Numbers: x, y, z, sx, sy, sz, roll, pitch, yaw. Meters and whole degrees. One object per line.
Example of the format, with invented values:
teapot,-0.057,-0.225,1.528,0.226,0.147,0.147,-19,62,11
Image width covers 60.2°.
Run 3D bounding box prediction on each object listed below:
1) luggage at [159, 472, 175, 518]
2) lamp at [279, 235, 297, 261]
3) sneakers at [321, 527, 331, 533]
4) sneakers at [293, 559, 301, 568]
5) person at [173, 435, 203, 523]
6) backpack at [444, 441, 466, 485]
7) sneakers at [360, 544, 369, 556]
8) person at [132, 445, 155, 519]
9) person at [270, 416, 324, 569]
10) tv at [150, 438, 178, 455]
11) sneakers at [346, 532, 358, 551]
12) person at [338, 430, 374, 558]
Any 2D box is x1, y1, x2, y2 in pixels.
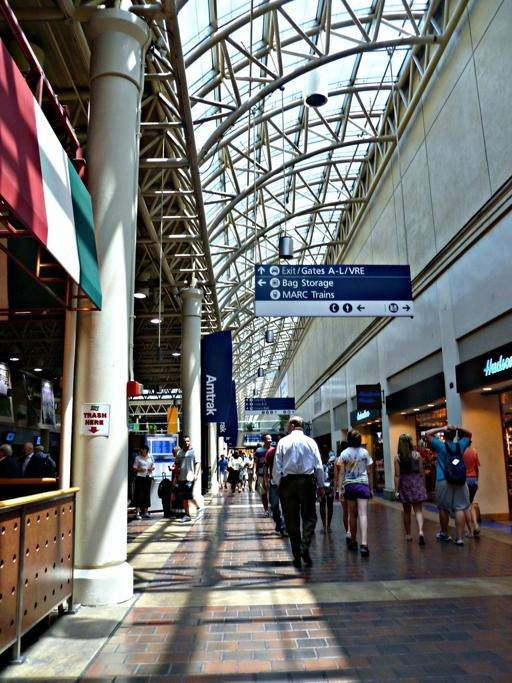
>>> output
luggage,-2.232,3.828,10.959,0.192,1.005,0.529,0,-1,-37
lamp,0.845,-2.708,12.427,0.364,0.859,0.824,0,-13,1
sneakers,1.349,3.595,8.455,0.204,0.184,0.075,2,-6,-26
sneakers,0.490,2.617,5.233,0.062,0.079,0.126,3,-4,9
person,-1.528,2.958,9.704,0.420,1.784,0.559,-3,-12,2
backpack,3.068,1.883,6.819,0.304,0.641,0.200,-1,-12,5
sneakers,1.413,2.713,5.757,0.105,0.115,0.192,-3,-14,12
person,-2.905,3.560,11.270,0.491,1.758,1.174,3,-13,-13
person,0.504,1.773,5.366,0.475,1.771,0.466,-2,-7,4
tv,-2.712,3.002,12.736,0.628,0.579,0.390,1,-4,-2
sneakers,1.387,2.874,6.373,0.088,0.138,0.323,0,-47,5
person,1.431,2.128,6.392,0.478,1.651,1.194,-2,-13,10
